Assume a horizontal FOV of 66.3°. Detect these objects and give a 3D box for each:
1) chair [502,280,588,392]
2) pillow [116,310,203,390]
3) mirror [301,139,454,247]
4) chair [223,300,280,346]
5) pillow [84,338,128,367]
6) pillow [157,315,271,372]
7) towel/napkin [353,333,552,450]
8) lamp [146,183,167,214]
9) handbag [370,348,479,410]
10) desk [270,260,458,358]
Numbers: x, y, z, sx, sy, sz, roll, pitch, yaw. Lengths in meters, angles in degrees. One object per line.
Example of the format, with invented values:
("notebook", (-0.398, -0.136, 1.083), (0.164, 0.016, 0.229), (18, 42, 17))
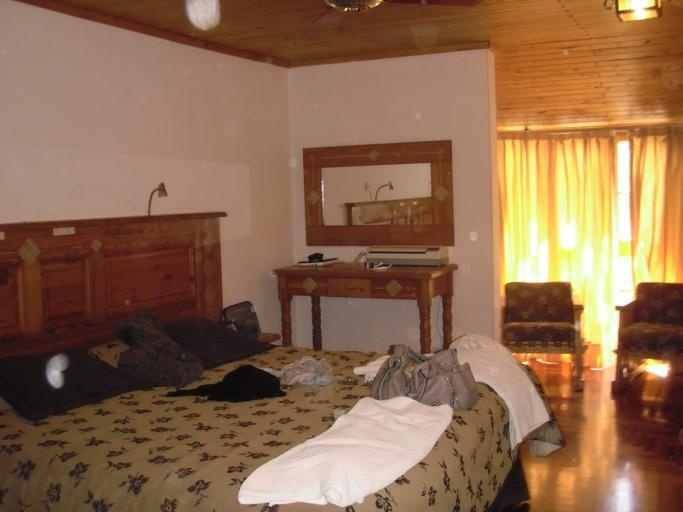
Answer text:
("chair", (2.185, 0.737, 5.806), (0.972, 0.913, 1.144), (-2, -6, 20))
("pillow", (-1.200, 0.606, 3.314), (0.554, 0.146, 0.375), (30, 49, 11))
("mirror", (0.351, -0.604, 5.310), (1.732, 1.024, 0.036), (-5, 10, -25))
("chair", (-0.945, 0.603, 4.543), (0.325, 0.315, 0.527), (-18, 2, -40))
("pillow", (-1.554, 0.639, 3.474), (0.173, 0.046, 0.187), (15, 17, 16))
("pillow", (-0.981, 0.606, 3.783), (0.438, 0.089, 0.421), (14, 16, 41))
("towel/napkin", (0.723, 0.750, 3.377), (1.072, 0.324, 0.803), (7, 8, 21))
("lamp", (-1.481, -0.456, 4.161), (0.172, 0.252, 0.217), (-7, 8, -16))
("handbag", (0.468, 0.673, 2.856), (0.398, 0.141, 0.370), (-3, 7, -22))
("desk", (0.169, 0.620, 5.223), (1.564, 0.910, 0.714), (0, 1, 16))
